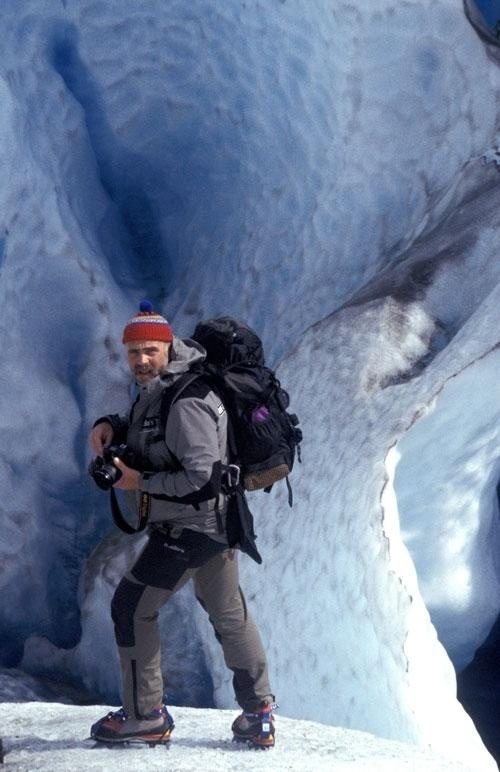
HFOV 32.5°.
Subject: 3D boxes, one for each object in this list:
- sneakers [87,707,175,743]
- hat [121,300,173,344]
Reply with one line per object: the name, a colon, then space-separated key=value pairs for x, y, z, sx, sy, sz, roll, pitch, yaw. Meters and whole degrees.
sneakers: x=-0.417 y=1.187 z=2.997 sx=0.308 sy=0.111 sz=0.164 roll=6 pitch=70 yaw=-6
hat: x=-0.355 y=-0.197 z=3.041 sx=0.167 sy=0.163 sz=0.143 roll=9 pitch=70 yaw=-40
